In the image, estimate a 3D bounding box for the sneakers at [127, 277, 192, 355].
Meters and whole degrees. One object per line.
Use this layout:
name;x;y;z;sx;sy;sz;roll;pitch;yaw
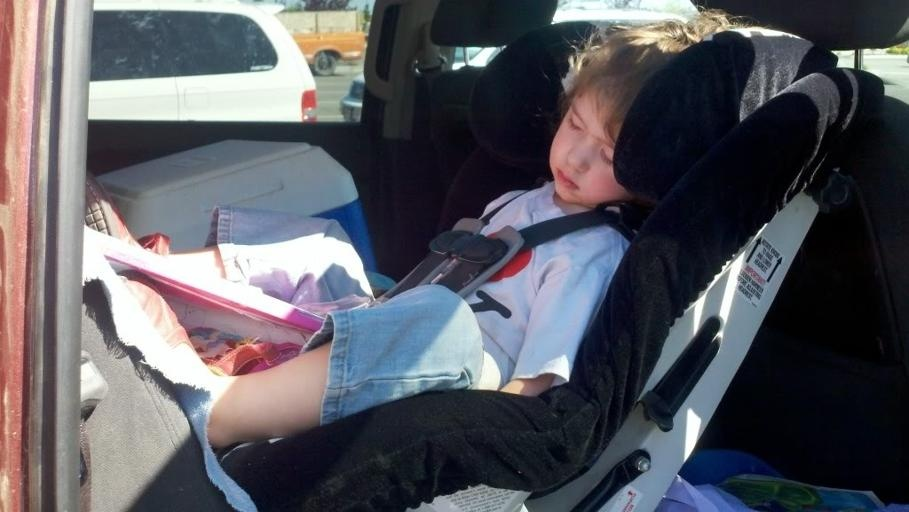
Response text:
sneakers;-0.587;0.120;1.585;0.130;0.046;0.154;18;51;-26

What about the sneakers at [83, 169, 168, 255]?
sneakers;-0.735;-0.103;1.879;0.220;0.238;0.146;-2;20;-19

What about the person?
person;-0.077;-0.088;1.934;1.356;0.950;0.956;0;13;-31

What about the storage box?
storage box;-0.509;-0.194;2.456;0.549;0.304;0.479;-9;17;9
